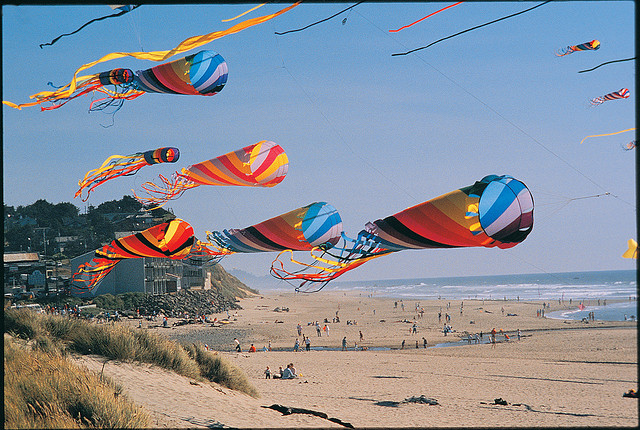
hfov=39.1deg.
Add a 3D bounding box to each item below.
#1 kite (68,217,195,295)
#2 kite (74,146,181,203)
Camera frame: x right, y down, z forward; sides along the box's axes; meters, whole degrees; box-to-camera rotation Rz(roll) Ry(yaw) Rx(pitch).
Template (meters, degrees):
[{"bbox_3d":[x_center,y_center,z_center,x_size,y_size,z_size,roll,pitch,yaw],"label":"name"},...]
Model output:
[{"bbox_3d":[-9.748,2.031,46.225,6.530,2.102,2.333,-18,-9,14],"label":"kite"},{"bbox_3d":[-10.089,-2.532,46.921,5.250,1.184,1.336,-15,21,9],"label":"kite"}]
